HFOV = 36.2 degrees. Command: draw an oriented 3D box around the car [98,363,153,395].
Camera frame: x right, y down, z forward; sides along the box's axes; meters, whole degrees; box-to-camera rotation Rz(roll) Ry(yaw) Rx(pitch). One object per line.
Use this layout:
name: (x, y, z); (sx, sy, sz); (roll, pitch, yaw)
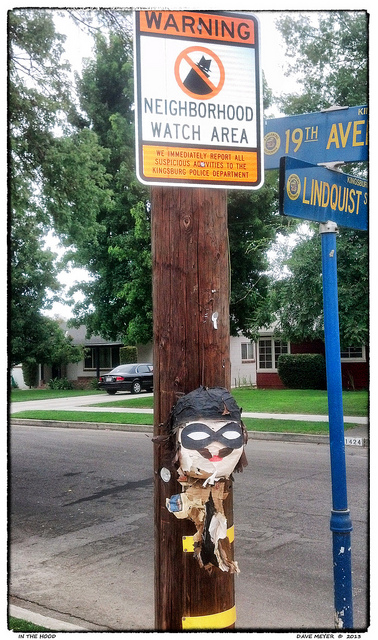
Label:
car: (-2.744, 2.542, 25.479); (1.164, 1.178, 3.263); (-2, 0, 28)
